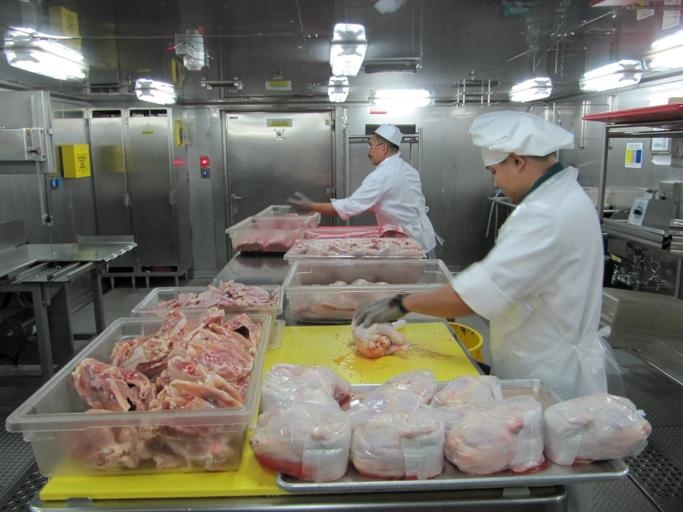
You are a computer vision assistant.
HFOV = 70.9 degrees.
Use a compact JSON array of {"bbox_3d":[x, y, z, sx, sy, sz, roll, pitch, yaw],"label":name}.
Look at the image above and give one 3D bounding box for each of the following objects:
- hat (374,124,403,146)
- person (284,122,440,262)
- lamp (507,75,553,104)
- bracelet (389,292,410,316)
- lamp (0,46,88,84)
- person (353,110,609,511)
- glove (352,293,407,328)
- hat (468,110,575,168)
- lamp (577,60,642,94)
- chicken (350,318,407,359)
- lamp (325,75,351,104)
[{"bbox_3d":[0.432,-1.066,4.295,0.202,0.126,0.243,36,12,28],"label":"hat"},{"bbox_3d":[0.359,-0.527,4.228,1.229,1.634,1.176,5,19,16],"label":"person"},{"bbox_3d":[2.230,-1.978,5.615,0.325,0.246,0.590,0,12,8],"label":"lamp"},{"bbox_3d":[0.240,0.196,1.999,0.067,0.079,0.087,6,19,25],"label":"bracelet"},{"bbox_3d":[-2.081,-1.382,3.518,0.336,0.142,0.610,1,3,20],"label":"lamp"},{"bbox_3d":[0.679,0.002,1.941,0.814,1.151,0.470,2,13,19],"label":"person"},{"bbox_3d":[0.158,0.229,1.979,0.211,0.063,0.116,-28,20,1],"label":"glove"},{"bbox_3d":[0.748,-0.495,1.981,0.455,0.206,0.409,1,20,22],"label":"hat"},{"bbox_3d":[2.317,-1.542,4.080,0.269,0.187,0.667,-3,12,-6],"label":"lamp"},{"bbox_3d":[0.175,0.347,2.115,0.217,0.117,0.342,-7,14,7],"label":"chicken"},{"bbox_3d":[-0.053,-2.034,5.814,0.370,0.198,0.730,0,18,0],"label":"lamp"}]
